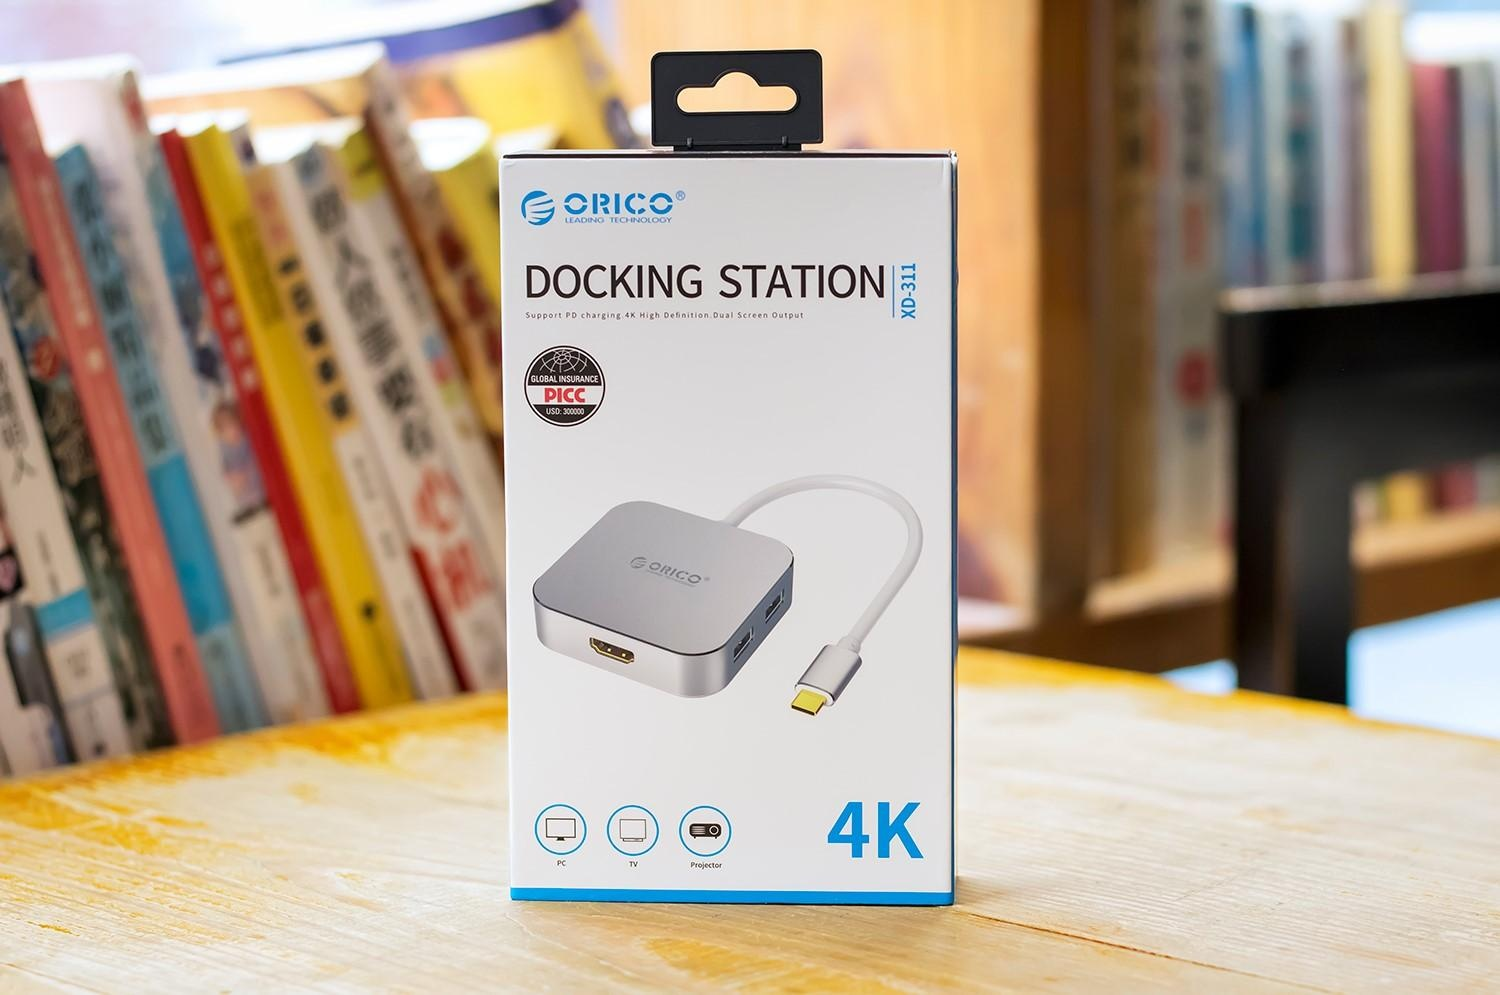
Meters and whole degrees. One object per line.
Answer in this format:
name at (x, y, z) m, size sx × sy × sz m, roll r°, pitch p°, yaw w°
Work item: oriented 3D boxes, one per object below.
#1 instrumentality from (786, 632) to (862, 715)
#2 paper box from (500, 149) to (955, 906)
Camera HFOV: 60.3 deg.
instrumentality at (0.045, 0.106, 0.757) m, size 0.026 × 0.014 × 0.051 m, roll 35°, pitch 82°, yaw 14°
paper box at (-0.011, 0.021, 0.757) m, size 0.271 × 0.412 × 0.223 m, roll -2°, pitch 29°, yaw 9°
